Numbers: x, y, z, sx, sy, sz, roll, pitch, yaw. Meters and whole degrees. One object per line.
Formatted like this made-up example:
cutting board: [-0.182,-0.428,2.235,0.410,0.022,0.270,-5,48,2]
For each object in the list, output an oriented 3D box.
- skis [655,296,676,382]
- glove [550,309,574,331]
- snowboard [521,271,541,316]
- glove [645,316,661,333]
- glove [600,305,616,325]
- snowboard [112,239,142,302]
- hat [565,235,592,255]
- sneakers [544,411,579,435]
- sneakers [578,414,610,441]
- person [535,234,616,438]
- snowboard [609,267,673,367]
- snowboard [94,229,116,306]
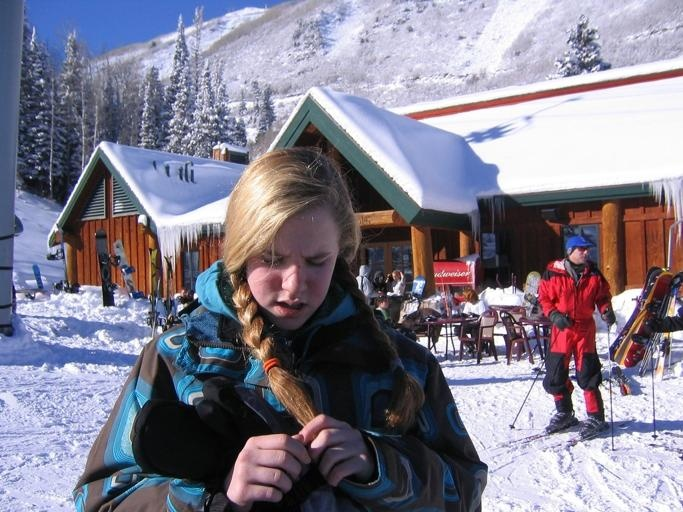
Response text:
skis: [5.047,1.297,11.163,0.173,1.361,0.155,-11,16,-36]
glove: [2.926,0.855,9.556,0.288,0.246,0.170,6,11,22]
snowboard: [3.654,0.735,13.790,0.194,0.825,0.289,2,2,10]
glove: [4.331,0.975,9.946,0.179,0.198,0.191,-10,-36,41]
glove: [3.635,0.824,9.836,0.183,0.219,0.239,-1,-4,-23]
snowboard: [-6.490,0.394,21.639,0.303,1.753,0.258,-14,-2,36]
hat: [3.569,-0.175,10.762,0.446,0.299,0.352,-16,-6,25]
sneakers: [2.868,2.178,9.419,0.539,0.302,0.190,0,0,-32]
sneakers: [3.249,2.224,9.250,0.489,0.278,0.195,-4,-4,-26]
person: [3.111,1.015,9.569,0.992,2.435,1.107,6,11,23]
snowboard: [4.879,1.042,11.653,0.403,1.590,0.255,14,11,-13]
snowboard: [-6.623,0.268,20.014,0.282,2.275,0.363,8,-32,-38]
